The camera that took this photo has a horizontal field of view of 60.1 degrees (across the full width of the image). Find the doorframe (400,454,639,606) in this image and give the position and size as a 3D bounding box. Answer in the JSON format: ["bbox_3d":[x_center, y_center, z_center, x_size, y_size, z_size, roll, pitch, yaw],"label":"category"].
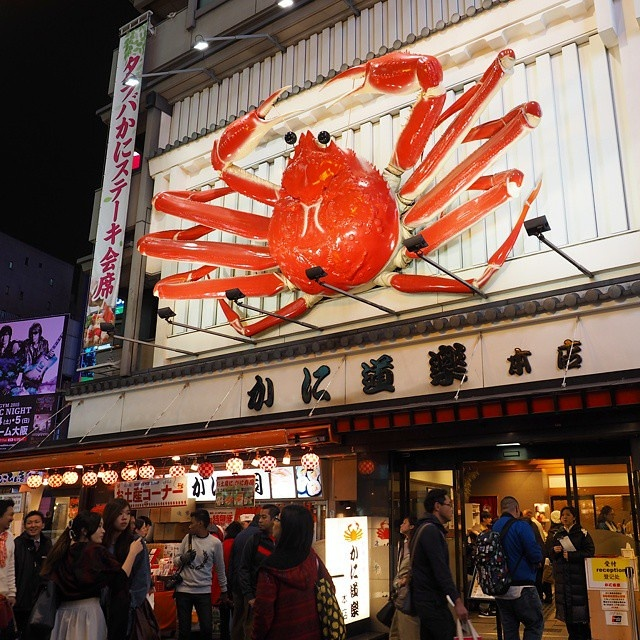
[{"bbox_3d":[2.357,2.428,6.436,3.428,2.223,0.080,-17,-32,34],"label":"doorframe"}]

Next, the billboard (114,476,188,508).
[{"bbox_3d":[-2.863,2.966,9.543,1.922,0.729,0.037,-8,-8,29],"label":"billboard"}]

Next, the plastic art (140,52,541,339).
[{"bbox_3d":[0.440,-1.991,9.106,7.866,3.341,3.066,-12,-28,38],"label":"plastic art"}]

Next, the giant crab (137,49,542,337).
[{"bbox_3d":[0.421,-2.043,9.140,7.845,3.315,3.060,-12,-29,38],"label":"giant crab"}]
